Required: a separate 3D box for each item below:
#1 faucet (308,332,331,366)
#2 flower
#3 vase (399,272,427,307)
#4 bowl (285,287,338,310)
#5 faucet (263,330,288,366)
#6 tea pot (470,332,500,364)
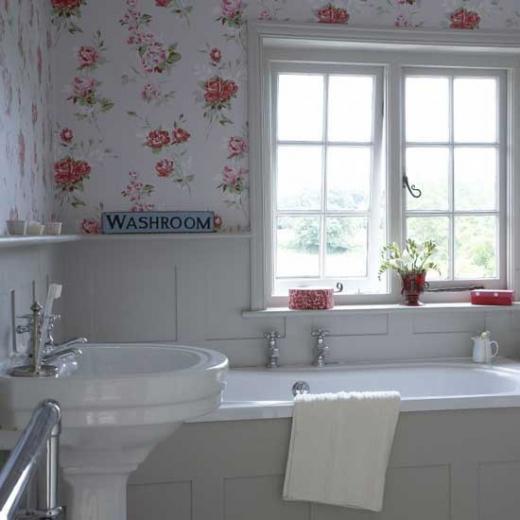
[{"bbox_3d":[0.293,0.427,2.892,0.078,0.172,0.091,1,2,5],"label":"faucet"},{"bbox_3d":[0.774,-0.017,3.082,0.307,0.193,0.281,1,2,9],"label":"flower"},{"bbox_3d":[0.772,0.152,2.990,0.173,0.190,0.150,0,-7,0],"label":"vase"},{"bbox_3d":[0.243,0.189,2.929,0.234,0.105,0.141,2,2,13],"label":"bowl"},{"bbox_3d":[0.071,0.430,2.856,0.094,0.174,0.082,1,2,-3],"label":"faucet"},{"bbox_3d":[1.104,0.440,2.975,0.184,0.170,0.114,0,-3,1],"label":"tea pot"}]
